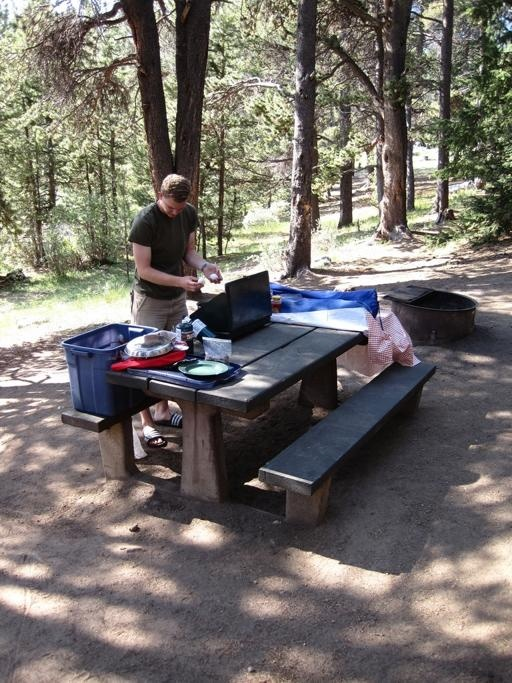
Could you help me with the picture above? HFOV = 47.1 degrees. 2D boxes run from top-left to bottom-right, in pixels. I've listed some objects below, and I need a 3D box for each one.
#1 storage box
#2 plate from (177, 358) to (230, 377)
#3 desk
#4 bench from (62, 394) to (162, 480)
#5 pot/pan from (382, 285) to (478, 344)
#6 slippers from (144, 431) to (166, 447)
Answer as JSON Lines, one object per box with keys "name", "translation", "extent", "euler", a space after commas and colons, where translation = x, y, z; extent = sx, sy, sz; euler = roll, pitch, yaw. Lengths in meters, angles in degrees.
{"name": "storage box", "translation": [-0.868, 0.152, 3.598], "extent": [0.494, 0.384, 0.610], "euler": [7, 16, 25]}
{"name": "plate", "translation": [-0.274, 0.147, 3.150], "extent": [0.279, 0.042, 0.263], "euler": [-6, 12, -8]}
{"name": "desk", "translation": [0.071, 0.355, 3.781], "extent": [0.970, 0.664, 1.741], "euler": [4, 17, 30]}
{"name": "bench", "translation": [-0.873, 0.625, 3.632], "extent": [0.316, 0.414, 0.465], "euler": [3, 11, 37]}
{"name": "pot/pan", "translation": [1.782, -0.270, 5.998], "extent": [0.864, 0.483, 0.756], "euler": [1, 14, 22]}
{"name": "slippers", "translation": [-0.716, 0.700, 4.185], "extent": [0.080, 0.061, 0.185], "euler": [-13, 11, -41]}
